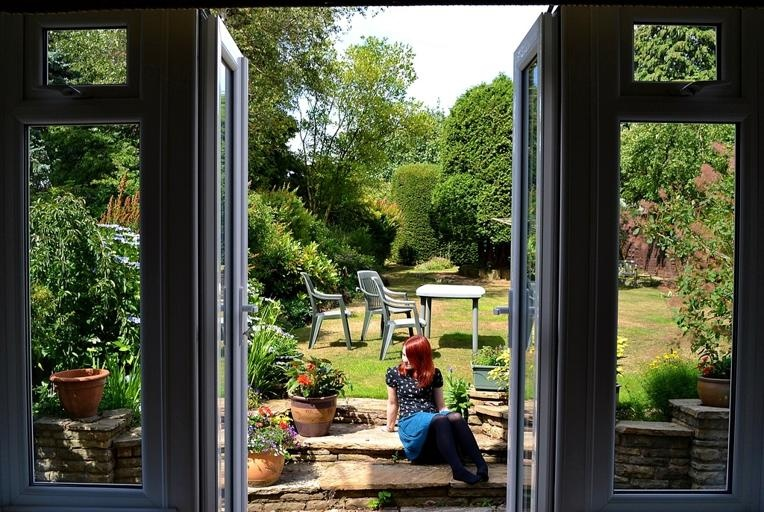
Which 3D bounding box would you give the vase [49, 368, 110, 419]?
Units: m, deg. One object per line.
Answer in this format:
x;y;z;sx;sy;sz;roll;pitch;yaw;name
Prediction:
-1.523;0.690;3.780;0.250;0.229;0.238;-1;-1;-12;vase

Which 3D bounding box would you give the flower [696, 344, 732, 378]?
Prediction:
1.583;0.499;3.561;0.104;0.124;0.145;2;-11;-3;flower

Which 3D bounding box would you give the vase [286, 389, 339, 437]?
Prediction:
-0.497;1.166;5.538;0.309;0.217;0.302;0;-5;1;vase

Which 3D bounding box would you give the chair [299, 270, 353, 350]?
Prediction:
-0.646;0.589;8.563;0.839;1.101;0.821;-1;3;1;chair

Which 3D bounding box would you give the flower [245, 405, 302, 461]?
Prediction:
-0.753;1.170;5.005;0.380;0.215;0.396;8;-2;-2;flower

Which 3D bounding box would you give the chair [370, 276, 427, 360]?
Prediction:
0.066;0.569;8.558;0.682;0.734;0.630;-1;4;-14;chair

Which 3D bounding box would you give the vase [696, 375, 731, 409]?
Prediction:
1.567;0.642;3.520;0.124;0.086;0.125;1;-4;-7;vase

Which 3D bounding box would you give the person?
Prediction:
0.340;1.030;5.208;0.393;0.611;0.933;0;-2;-41;person

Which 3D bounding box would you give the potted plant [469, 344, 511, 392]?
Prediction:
0.850;0.836;5.808;0.375;0.249;0.464;0;-1;7;potted plant

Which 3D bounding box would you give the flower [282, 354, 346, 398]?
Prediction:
-0.476;0.904;5.591;0.343;0.216;0.344;-1;4;-41;flower

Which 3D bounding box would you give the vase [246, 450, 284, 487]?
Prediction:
-0.773;1.374;4.941;0.272;0.183;0.266;0;-9;1;vase
